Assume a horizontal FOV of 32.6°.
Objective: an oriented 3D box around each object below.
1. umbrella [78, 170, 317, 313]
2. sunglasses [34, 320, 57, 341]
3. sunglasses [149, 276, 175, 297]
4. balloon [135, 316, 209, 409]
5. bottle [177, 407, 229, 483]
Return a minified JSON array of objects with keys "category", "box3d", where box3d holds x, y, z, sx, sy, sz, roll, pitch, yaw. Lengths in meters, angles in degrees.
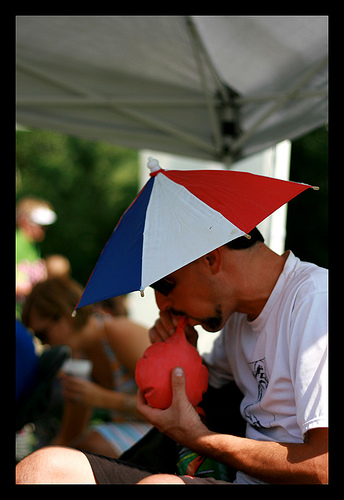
[{"category":"umbrella","box3d":[0.060,-0.057,2.000,0.624,0.489,0.553,-1,0,-45]},{"category":"sunglasses","box3d":[-0.633,0.406,2.936,0.080,0.039,0.058,-39,10,-23]},{"category":"sunglasses","box3d":[-0.029,0.128,2.126,0.078,0.038,0.076,-27,-61,38]},{"category":"balloon","box3d":[-0.032,0.403,2.102,0.268,0.242,0.247,16,0,-27]},{"category":"bottle","box3d":[0.098,0.716,2.163,0.215,0.238,0.199,-1,7,-9]}]
